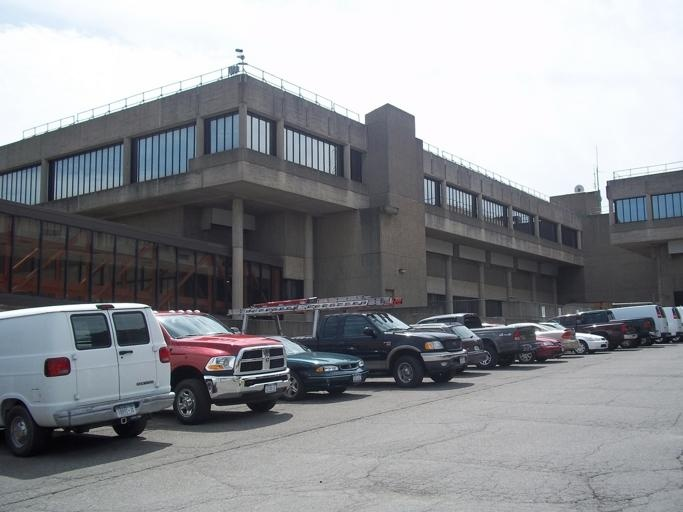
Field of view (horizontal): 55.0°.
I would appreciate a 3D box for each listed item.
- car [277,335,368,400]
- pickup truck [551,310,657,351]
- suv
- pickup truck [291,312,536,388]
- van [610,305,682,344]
[{"bbox_3d":[-0.745,2.989,16.699,2.692,0.919,1.180,-6,-7,29],"label":"car"},{"bbox_3d":[13.935,3.703,33.966,5.095,1.794,2.279,0,-8,6],"label":"pickup truck"},{"bbox_3d":[-3.062,2.365,14.265,3.264,1.540,1.659,-12,-13,34],"label":"suv"},{"bbox_3d":[1.628,2.662,19.149,4.947,1.748,2.175,-7,-9,32],"label":"pickup truck"},{"bbox_3d":[16.138,3.503,36.030,3.500,1.690,3.604,-3,-7,32],"label":"van"}]
